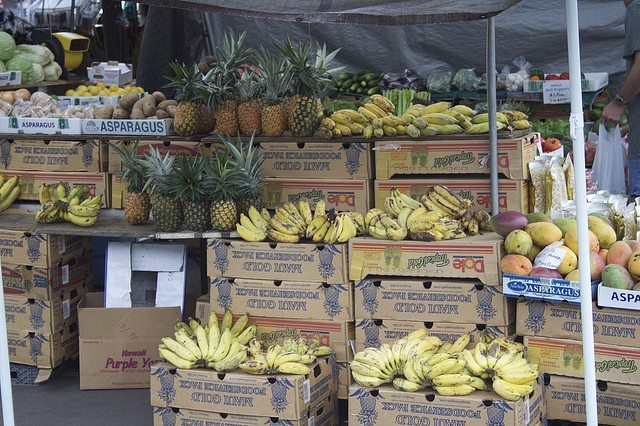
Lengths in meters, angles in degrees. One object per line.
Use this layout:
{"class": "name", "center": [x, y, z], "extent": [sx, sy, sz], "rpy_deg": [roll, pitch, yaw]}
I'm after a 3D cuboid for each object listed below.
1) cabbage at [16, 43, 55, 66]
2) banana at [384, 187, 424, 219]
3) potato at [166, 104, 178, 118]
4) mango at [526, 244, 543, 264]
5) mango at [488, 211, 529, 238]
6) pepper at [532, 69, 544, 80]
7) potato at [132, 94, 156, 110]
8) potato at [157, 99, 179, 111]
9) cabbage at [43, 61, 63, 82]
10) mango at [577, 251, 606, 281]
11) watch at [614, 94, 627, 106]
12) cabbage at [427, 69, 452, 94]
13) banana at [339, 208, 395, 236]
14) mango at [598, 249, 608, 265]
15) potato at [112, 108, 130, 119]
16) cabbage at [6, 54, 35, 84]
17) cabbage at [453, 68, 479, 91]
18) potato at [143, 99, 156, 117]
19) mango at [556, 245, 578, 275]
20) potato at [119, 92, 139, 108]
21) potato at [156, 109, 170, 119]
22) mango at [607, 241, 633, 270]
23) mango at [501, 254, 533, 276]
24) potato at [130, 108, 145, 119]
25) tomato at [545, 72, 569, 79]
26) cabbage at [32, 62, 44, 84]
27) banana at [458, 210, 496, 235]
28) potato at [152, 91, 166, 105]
{"class": "cabbage", "center": [-3.720, -2.097, 10.388], "extent": [0.418, 0.191, 0.227], "rpy_deg": [19, 19, -17]}
{"class": "banana", "center": [0.686, -0.091, 6.608], "extent": [0.293, 0.144, 0.174], "rpy_deg": [37, 44, 14]}
{"class": "potato", "center": [-1.412, -0.968, 7.543], "extent": [0.099, 0.118, 0.059], "rpy_deg": [2, 7, -34]}
{"class": "mango", "center": [1.662, 0.315, 6.192], "extent": [0.072, 0.132, 0.103], "rpy_deg": [37, -16, -6]}
{"class": "mango", "center": [1.472, 0.093, 6.259], "extent": [0.241, 0.161, 0.177], "rpy_deg": [-12, -8, 25]}
{"class": "pepper", "center": [3.027, -1.935, 11.095], "extent": [0.161, 0.211, 0.174], "rpy_deg": [-2, 6, 0]}
{"class": "potato", "center": [-1.691, -1.066, 7.624], "extent": [0.216, 0.117, 0.116], "rpy_deg": [-22, 29, 10]}
{"class": "potato", "center": [-1.472, -1.043, 7.624], "extent": [0.176, 0.098, 0.100], "rpy_deg": [-11, 10, -4]}
{"class": "cabbage", "center": [-3.585, -1.904, 10.648], "extent": [0.234, 0.201, 0.189], "rpy_deg": [-4, 7, -21]}
{"class": "mango", "center": [2.082, 0.403, 6.090], "extent": [0.220, 0.185, 0.170], "rpy_deg": [7, 13, 17]}
{"class": "watch", "center": [2.872, -1.088, 7.598], "extent": [0.085, 0.037, 0.090], "rpy_deg": [30, -4, -7]}
{"class": "cabbage", "center": [1.733, -1.888, 11.562], "extent": [0.353, 0.297, 0.273], "rpy_deg": [0, 5, 9]}
{"class": "banana", "center": [0.374, 0.060, 6.622], "extent": [0.152, 0.217, 0.400], "rpy_deg": [40, -22, -30]}
{"class": "mango", "center": [2.173, 0.348, 6.120], "extent": [0.084, 0.109, 0.088], "rpy_deg": [2, 0, 1]}
{"class": "potato", "center": [-1.915, -0.952, 7.597], "extent": [0.089, 0.092, 0.153], "rpy_deg": [35, 16, 37]}
{"class": "cabbage", "center": [-3.778, -1.815, 9.980], "extent": [0.256, 0.283, 0.354], "rpy_deg": [3, 11, -12]}
{"class": "cabbage", "center": [2.105, -1.897, 11.506], "extent": [0.293, 0.297, 0.340], "rpy_deg": [43, 20, -1]}
{"class": "potato", "center": [-1.639, -1.004, 7.593], "extent": [0.122, 0.175, 0.112], "rpy_deg": [-2, 5, -16]}
{"class": "mango", "center": [1.863, 0.358, 6.109], "extent": [0.152, 0.148, 0.197], "rpy_deg": [-34, 6, 6]}
{"class": "potato", "center": [-1.851, -1.086, 7.702], "extent": [0.188, 0.115, 0.116], "rpy_deg": [-28, 21, -17]}
{"class": "potato", "center": [-1.503, -0.942, 7.518], "extent": [0.096, 0.059, 0.076], "rpy_deg": [2, -13, 3]}
{"class": "mango", "center": [2.276, 0.316, 6.058], "extent": [0.143, 0.213, 0.153], "rpy_deg": [4, -19, -1]}
{"class": "mango", "center": [1.489, 0.399, 6.083], "extent": [0.194, 0.159, 0.198], "rpy_deg": [11, -5, -4]}
{"class": "potato", "center": [-1.743, -0.943, 7.540], "extent": [0.137, 0.091, 0.115], "rpy_deg": [-1, 5, -11]}
{"class": "tomato", "center": [3.264, -1.896, 10.985], "extent": [0.304, 0.115, 0.419], "rpy_deg": [1, 6, 14]}
{"class": "cabbage", "center": [-3.668, -1.821, 10.335], "extent": [0.202, 0.168, 0.174], "rpy_deg": [2, 21, -11]}
{"class": "banana", "center": [1.278, 0.078, 6.511], "extent": [0.241, 0.187, 0.105], "rpy_deg": [-24, -12, -49]}
{"class": "potato", "center": [-1.582, -1.138, 7.793], "extent": [0.101, 0.082, 0.132], "rpy_deg": [6, 3, -43]}
